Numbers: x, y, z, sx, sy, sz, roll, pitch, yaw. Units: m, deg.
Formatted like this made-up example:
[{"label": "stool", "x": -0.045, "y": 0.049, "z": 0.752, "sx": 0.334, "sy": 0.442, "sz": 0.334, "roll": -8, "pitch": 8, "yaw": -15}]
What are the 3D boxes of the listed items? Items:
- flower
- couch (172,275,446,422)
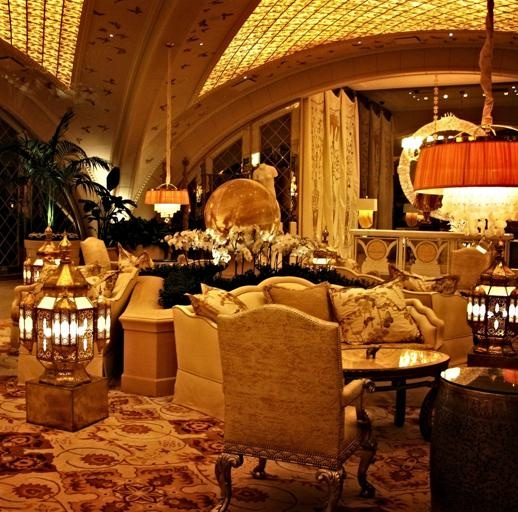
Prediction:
[{"label": "flower", "x": -0.297, "y": -0.093, "z": 4.329, "sx": 0.885, "sy": 0.240, "sz": 0.638, "roll": 1, "pitch": 2, "yaw": 27}, {"label": "couch", "x": 0.104, "y": 0.875, "z": 4.651, "sx": 1.197, "sy": 1.086, "sz": 2.203, "roll": -27, "pitch": -3, "yaw": 3}]
